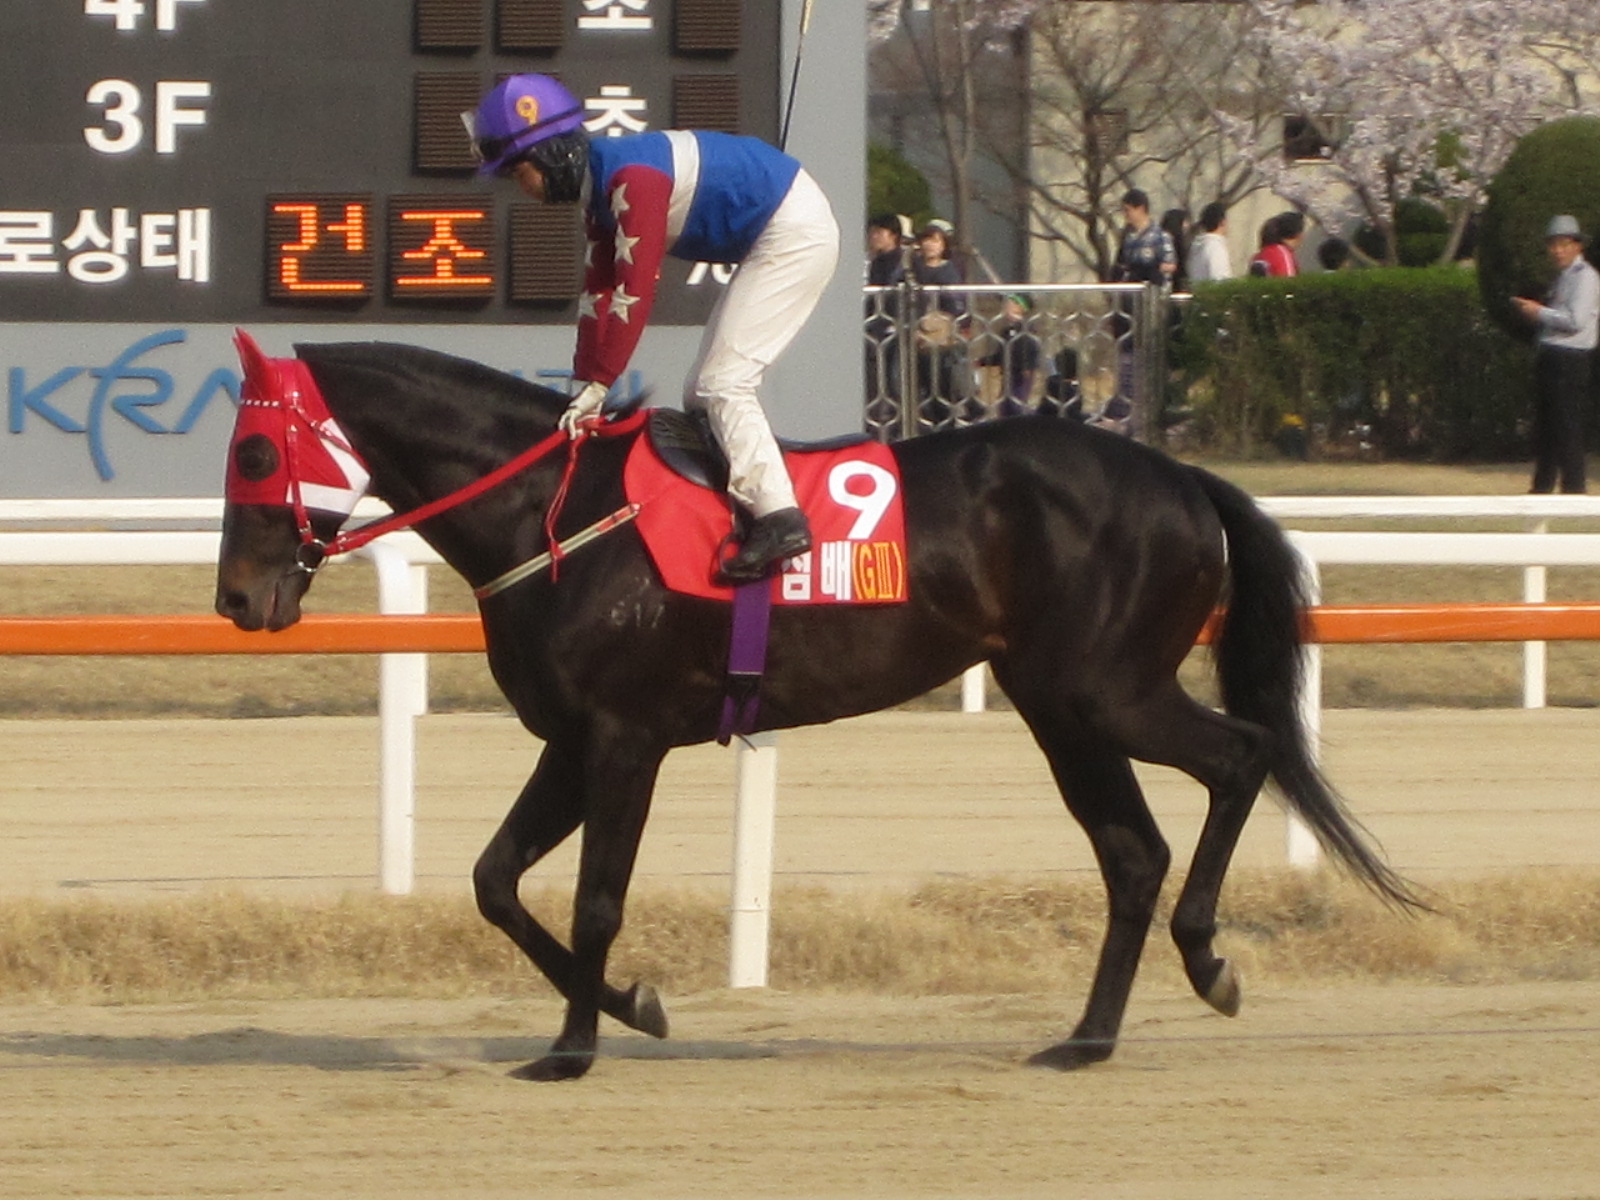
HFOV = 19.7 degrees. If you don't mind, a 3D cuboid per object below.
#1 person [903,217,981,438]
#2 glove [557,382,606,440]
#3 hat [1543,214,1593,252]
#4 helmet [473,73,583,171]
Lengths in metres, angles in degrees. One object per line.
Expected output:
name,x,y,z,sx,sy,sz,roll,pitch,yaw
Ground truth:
person,0.786,-1.505,24.680,0.346,1.062,0.297,-4,8,-10
glove,-0.785,-0.691,16.655,0.128,0.215,0.087,42,7,13
hat,3.993,-1.942,23.786,0.251,0.112,0.283,3,-3,10
helmet,-0.988,-1.780,16.727,0.406,0.317,0.309,-21,5,8
